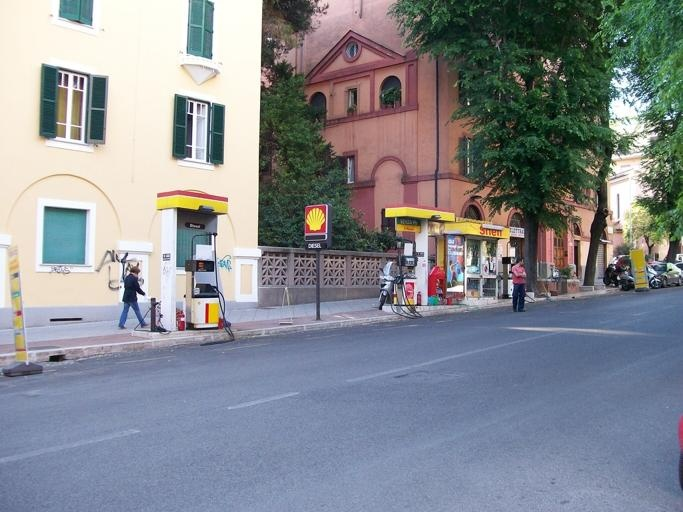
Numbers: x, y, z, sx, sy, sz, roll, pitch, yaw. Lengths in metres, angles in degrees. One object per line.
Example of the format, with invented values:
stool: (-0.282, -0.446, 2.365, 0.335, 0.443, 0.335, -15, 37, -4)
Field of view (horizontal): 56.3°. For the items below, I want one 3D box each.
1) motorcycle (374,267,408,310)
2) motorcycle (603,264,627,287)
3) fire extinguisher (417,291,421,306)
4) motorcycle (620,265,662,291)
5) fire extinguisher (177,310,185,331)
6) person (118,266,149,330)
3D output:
motorcycle: (2.049, 1.162, 24.713, 1.213, 1.781, 2.251, -1, 2, -10)
motorcycle: (17.156, 1.164, 40.044, 0.663, 1.331, 1.807, -1, 2, -14)
fire extinguisher: (3.123, 1.704, 25.487, 0.159, 0.491, 0.186, 0, 2, 7)
motorcycle: (18.949, 1.453, 40.418, 1.615, 1.341, 4.753, 1, 2, 39)
fire extinguisher: (-4.530, 1.800, 17.983, 0.256, 0.562, 0.492, -1, 2, -16)
person: (-6.180, 1.201, 18.834, 0.728, 1.784, 1.363, -1, 2, -19)
